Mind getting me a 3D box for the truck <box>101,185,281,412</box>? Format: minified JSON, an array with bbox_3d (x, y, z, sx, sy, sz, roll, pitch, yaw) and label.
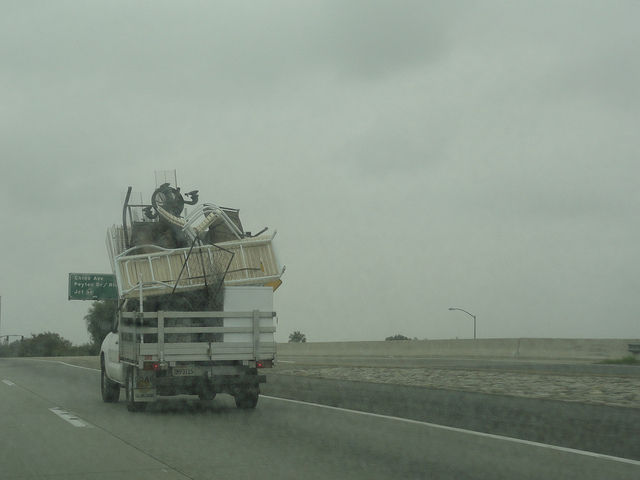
[{"bbox_3d":[-3.886,1.283,23.836,3.472,5.048,6.782,-1,13,-24],"label":"truck"}]
